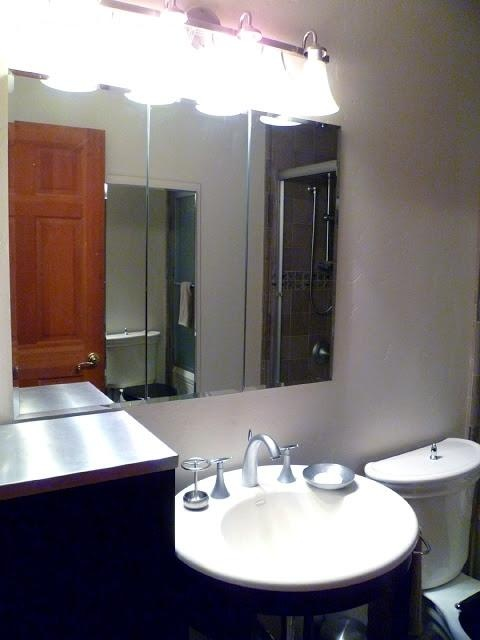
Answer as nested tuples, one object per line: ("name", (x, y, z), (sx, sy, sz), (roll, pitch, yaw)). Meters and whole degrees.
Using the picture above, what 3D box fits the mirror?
("mirror", (-0.164, -0.182, 1.195), (0.709, 0.940, 0.010), (-4, 6, -35))

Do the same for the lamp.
("lamp", (-0.066, -0.584, 1.177), (0.720, 0.246, 0.091), (-2, 7, -35))
